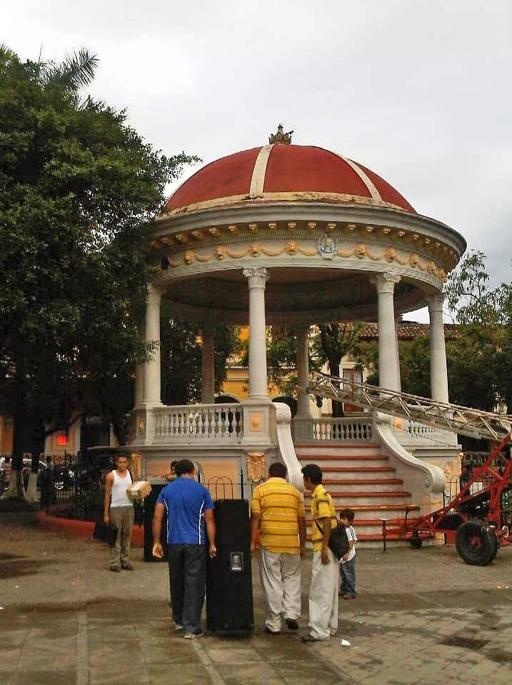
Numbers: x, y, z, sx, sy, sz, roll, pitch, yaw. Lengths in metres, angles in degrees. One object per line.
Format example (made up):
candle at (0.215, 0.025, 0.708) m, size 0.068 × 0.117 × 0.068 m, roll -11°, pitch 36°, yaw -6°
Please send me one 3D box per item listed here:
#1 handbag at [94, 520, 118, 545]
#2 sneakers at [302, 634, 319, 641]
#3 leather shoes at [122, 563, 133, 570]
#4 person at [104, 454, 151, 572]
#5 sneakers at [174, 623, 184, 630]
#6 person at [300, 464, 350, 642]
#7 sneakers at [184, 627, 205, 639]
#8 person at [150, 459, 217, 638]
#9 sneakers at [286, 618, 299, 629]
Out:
handbag at (-2.041, 2.537, 10.655) m, size 0.296 × 0.337 × 0.477 m, roll 15°, pitch -30°, yaw -9°
sneakers at (0.467, 2.577, 6.868) m, size 0.152 × 0.064 × 0.055 m, roll 2°, pitch -5°, yaw 33°
leather shoes at (-1.778, 3.046, 10.828) m, size 0.156 × 0.111 × 0.123 m, roll 1°, pitch -8°, yaw -10°
person at (-1.830, 2.357, 11.037) m, size 0.595 × 1.563 × 1.275 m, roll 0°, pitch -8°, yaw -4°
sneakers at (-0.694, 2.554, 7.110) m, size 0.112 × 0.059 × 0.153 m, roll 5°, pitch -18°, yaw -9°
person at (0.625, 1.869, 7.130) m, size 0.398 × 1.513 × 0.430 m, roll -2°, pitch -8°, yaw 8°
sneakers at (-0.543, 2.519, 6.871) m, size 0.072 × 0.095 × 0.214 m, roll 0°, pitch -1°, yaw 43°
person at (-0.652, 1.820, 7.091) m, size 0.544 × 1.523 × 0.411 m, roll -7°, pitch -10°, yaw 39°
sneakers at (0.334, 2.588, 7.260) m, size 0.132 × 0.109 × 0.127 m, roll -2°, pitch -7°, yaw 5°
